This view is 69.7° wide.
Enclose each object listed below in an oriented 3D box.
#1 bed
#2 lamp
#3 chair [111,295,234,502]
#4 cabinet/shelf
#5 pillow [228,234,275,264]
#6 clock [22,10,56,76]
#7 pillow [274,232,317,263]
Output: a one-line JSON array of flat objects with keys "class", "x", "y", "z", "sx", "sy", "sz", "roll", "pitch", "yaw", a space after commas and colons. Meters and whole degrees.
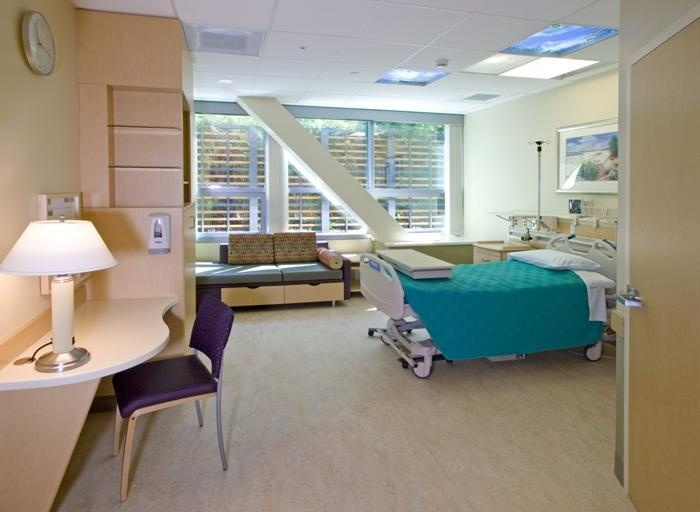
[{"class": "bed", "x": 1.189, "y": 0.428, "z": 4.674, "sx": 1.799, "sy": 0.930, "sz": 1.174, "roll": -3, "pitch": 9, "yaw": -12}, {"class": "lamp", "x": -1.434, "y": 0.173, "z": 3.012, "sx": 0.698, "sy": 0.964, "sz": 0.740, "roll": 0, "pitch": 4, "yaw": -7}, {"class": "chair", "x": -1.147, "y": 0.837, "z": 3.238, "sx": 0.647, "sy": 1.096, "sz": 0.602, "roll": 0, "pitch": 10, "yaw": -30}, {"class": "cabinet/shelf", "x": -1.641, "y": -0.883, "z": 4.122, "sx": 0.668, "sy": 0.342, "sz": 0.699, "roll": 9, "pitch": 17, "yaw": 36}, {"class": "pillow", "x": -1.321, "y": -0.079, "z": 6.723, "sx": 0.542, "sy": 0.409, "sz": 0.132, "roll": 3, "pitch": -8, "yaw": -21}, {"class": "clock", "x": -1.914, "y": -1.298, "z": 3.096, "sx": 0.083, "sy": 0.358, "sz": 0.355, "roll": -4, "pitch": 14, "yaw": -15}, {"class": "pillow", "x": -0.755, "y": -0.112, "z": 6.911, "sx": 0.550, "sy": 0.414, "sz": 0.130, "roll": -4, "pitch": -3, "yaw": -17}]
